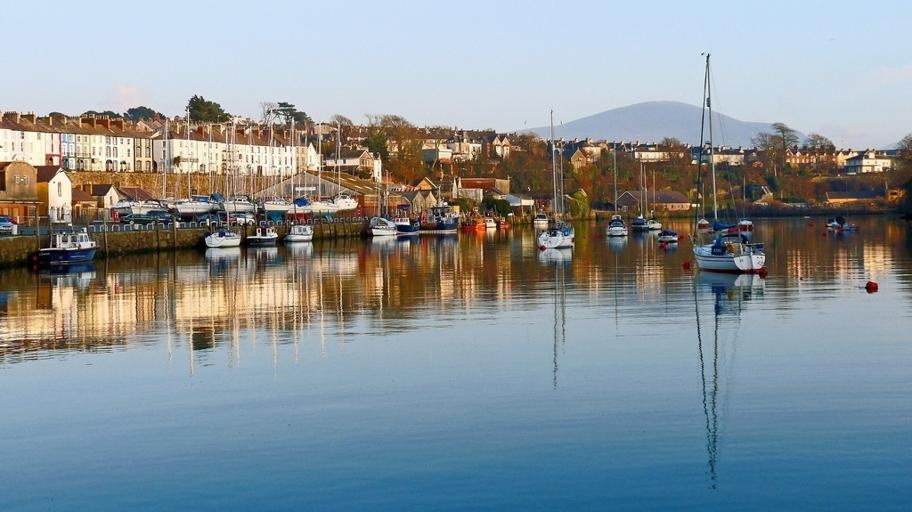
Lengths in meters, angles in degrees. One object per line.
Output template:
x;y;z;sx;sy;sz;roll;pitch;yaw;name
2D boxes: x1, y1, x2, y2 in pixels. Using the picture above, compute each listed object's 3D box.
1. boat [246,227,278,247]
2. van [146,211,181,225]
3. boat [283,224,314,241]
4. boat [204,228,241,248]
-15.534;-1.679;100.865;1.980;1.490;2.666;-1;1;28;boat
-23.628;-3.189;101.637;3.193;0.978;1.837;0;6;8;van
-13.049;-1.956;104.433;2.360;1.427;1.093;-2;1;-34;boat
-17.850;-1.363;96.121;1.303;1.497;3.020;-1;1;24;boat
